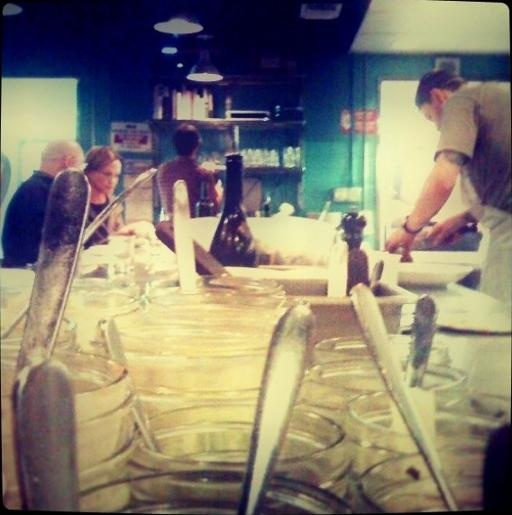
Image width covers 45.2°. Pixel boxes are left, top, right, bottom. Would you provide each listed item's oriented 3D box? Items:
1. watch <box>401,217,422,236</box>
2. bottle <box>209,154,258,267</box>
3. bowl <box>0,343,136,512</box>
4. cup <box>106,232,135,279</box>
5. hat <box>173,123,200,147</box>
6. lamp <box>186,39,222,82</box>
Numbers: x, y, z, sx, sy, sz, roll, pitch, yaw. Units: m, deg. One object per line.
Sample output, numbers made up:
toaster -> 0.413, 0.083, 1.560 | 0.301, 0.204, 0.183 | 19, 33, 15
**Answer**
watch -> 0.646, -0.135, 2.561 | 0.074, 0.086, 0.032 | 12, -9, -7
bottle -> -0.088, -0.151, 2.692 | 0.250, 0.660, 0.258 | -2, -23, -1
bowl -> -0.840, 0.663, 2.668 | 0.558, 0.736, 0.618 | -1, 4, -25
cup -> -0.568, -0.009, 2.610 | 0.100, 0.191, 0.048 | -1, 5, -5
hat -> -0.293, -0.515, 2.562 | 0.082, 0.093, 0.089 | -2, -2, 36
lamp -> -0.220, -0.798, 2.551 | 0.133, 0.163, 0.150 | 0, 2, -9
